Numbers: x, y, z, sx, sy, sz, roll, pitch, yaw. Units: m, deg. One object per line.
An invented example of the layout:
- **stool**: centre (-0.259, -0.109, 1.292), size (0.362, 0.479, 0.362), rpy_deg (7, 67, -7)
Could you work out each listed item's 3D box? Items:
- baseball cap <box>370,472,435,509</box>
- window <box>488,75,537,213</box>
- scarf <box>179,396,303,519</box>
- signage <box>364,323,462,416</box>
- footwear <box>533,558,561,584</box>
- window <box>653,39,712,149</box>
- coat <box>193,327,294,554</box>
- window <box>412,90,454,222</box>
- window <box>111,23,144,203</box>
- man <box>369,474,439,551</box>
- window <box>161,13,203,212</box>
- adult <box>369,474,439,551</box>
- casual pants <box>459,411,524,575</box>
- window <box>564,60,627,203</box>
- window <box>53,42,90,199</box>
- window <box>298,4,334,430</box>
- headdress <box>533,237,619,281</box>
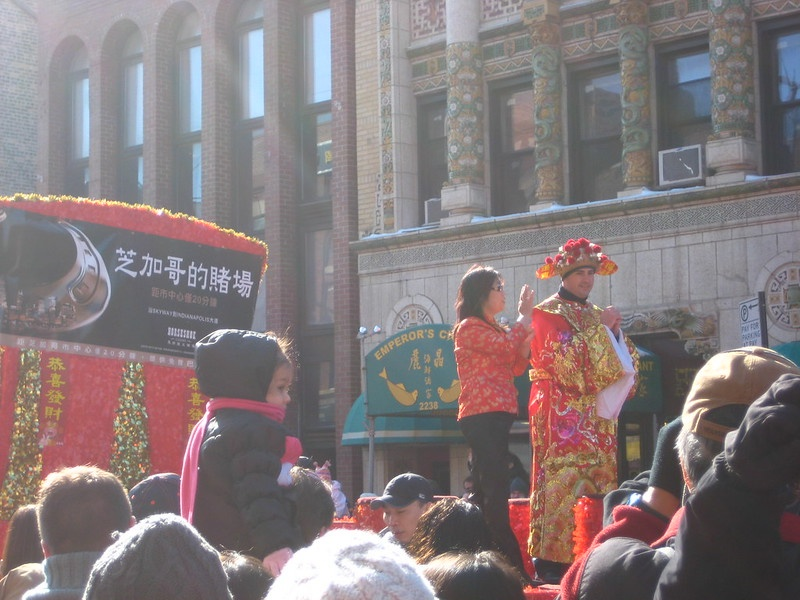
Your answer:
- **baseball cap**: centre (0.031, 1.763, 14.686), size (0.461, 0.262, 0.315), rpy_deg (8, -14, -21)
- **window**: centre (1.803, -2.429, 25.837), size (0.802, 2.033, 0.246), rpy_deg (-10, -9, 41)
- **scarf**: centre (-1.487, 1.361, 13.935), size (1.113, 1.170, 0.890), rpy_deg (-1, -7, -12)
- **signage**: centre (0.215, 1.054, 22.974), size (0.363, 0.925, 1.454), rpy_deg (3, -9, -40)
- **footwear**: centre (1.410, 2.562, 15.216), size (0.227, 0.188, 0.184), rpy_deg (-9, -14, 34)
- **window**: centre (4.243, -3.041, 23.884), size (0.845, 1.524, 0.246), rpy_deg (-9, -8, 37)
- **coat**: centre (-1.256, 1.191, 13.471), size (0.942, 1.929, 0.551), rpy_deg (-8, -8, 34)
- **window**: centre (0.568, -2.335, 26.698), size (0.593, 2.113, 0.285), rpy_deg (-9, -9, 40)
- **window**: centre (-5.297, -3.574, 31.310), size (0.751, 3.417, 0.279), rpy_deg (-10, -9, 41)
- **man**: centre (0.125, 1.878, 14.591), size (0.624, 0.703, 0.475), rpy_deg (26, -28, -33)
- **window**: centre (-4.094, -3.510, 30.401), size (0.348, 3.878, 0.836), rpy_deg (3, -9, -44)
- **adult**: centre (-0.062, 1.970, 14.899), size (0.624, 0.703, 0.475), rpy_deg (26, -28, -33)
- **casual pants**: centre (0.887, 1.808, 15.136), size (0.513, 1.496, 0.684), rpy_deg (-3, -7, -3)
- **window**: centre (3.026, -2.580, 24.793), size (0.927, 2.065, 0.273), rpy_deg (-9, -9, 39)
- **window**: centre (-6.630, -3.606, 32.324), size (0.763, 3.158, 0.459), rpy_deg (-4, -7, 0)
- **window**: centre (-1.491, -1.490, 28.440), size (0.341, 7.440, 1.019), rpy_deg (1, -8, -35)
- **headdress**: centre (1.682, -0.386, 15.817), size (0.541, 0.224, 0.497), rpy_deg (-3, -5, -22)
